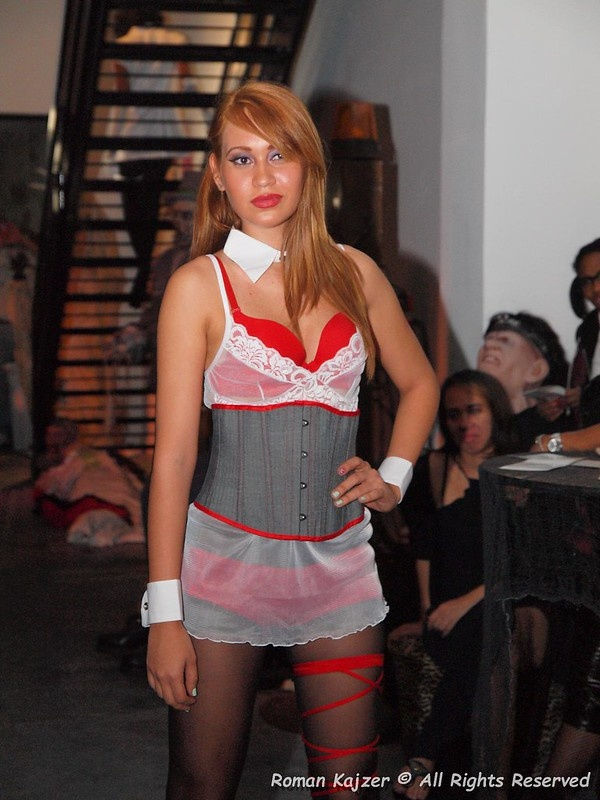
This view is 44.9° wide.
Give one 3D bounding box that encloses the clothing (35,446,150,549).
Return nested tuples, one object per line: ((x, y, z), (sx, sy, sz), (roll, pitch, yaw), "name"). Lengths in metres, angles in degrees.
((-1.058, 0.509, 3.755), (0.542, 0.506, 0.206), (-5, -10, -3), "clothing")

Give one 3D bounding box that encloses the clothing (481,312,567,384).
((0.821, -0.190, 2.563), (0.234, 0.243, 0.108), (-1, 8, 17), "clothing")

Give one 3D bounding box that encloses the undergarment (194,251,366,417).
((0.005, -0.091, 0.969), (0.215, 0.177, 0.105), (-2, 10, -2), "undergarment")

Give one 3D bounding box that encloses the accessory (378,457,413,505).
((0.137, 0.115, 1.069), (0.039, 0.064, 0.076), (-1, 7, 35), "accessory")

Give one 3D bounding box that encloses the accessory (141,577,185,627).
((-0.165, 0.242, 0.885), (0.069, 0.054, 0.058), (-5, -10, 7), "accessory")
